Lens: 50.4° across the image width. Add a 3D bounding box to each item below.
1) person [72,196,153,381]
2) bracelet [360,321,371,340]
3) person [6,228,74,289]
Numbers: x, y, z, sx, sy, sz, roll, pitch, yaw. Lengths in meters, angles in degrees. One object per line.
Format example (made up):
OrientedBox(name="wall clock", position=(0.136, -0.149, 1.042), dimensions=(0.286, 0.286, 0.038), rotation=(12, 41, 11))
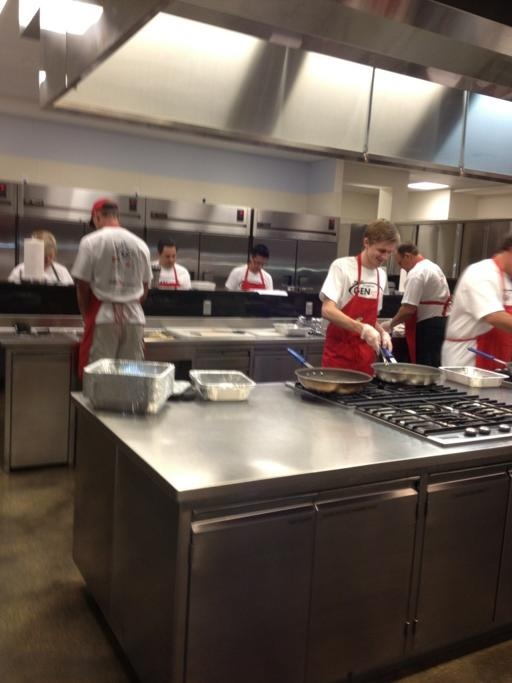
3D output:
OrientedBox(name="person", position=(-0.799, -0.217, 3.043), dimensions=(0.420, 0.841, 0.239), rotation=(-1, 9, -17))
OrientedBox(name="bracelet", position=(0.476, -0.051, 2.397), dimensions=(0.057, 0.056, 0.056), rotation=(0, -9, 11))
OrientedBox(name="person", position=(-1.755, -0.675, 4.346), dimensions=(0.459, 0.439, 1.619), rotation=(0, 9, -14))
